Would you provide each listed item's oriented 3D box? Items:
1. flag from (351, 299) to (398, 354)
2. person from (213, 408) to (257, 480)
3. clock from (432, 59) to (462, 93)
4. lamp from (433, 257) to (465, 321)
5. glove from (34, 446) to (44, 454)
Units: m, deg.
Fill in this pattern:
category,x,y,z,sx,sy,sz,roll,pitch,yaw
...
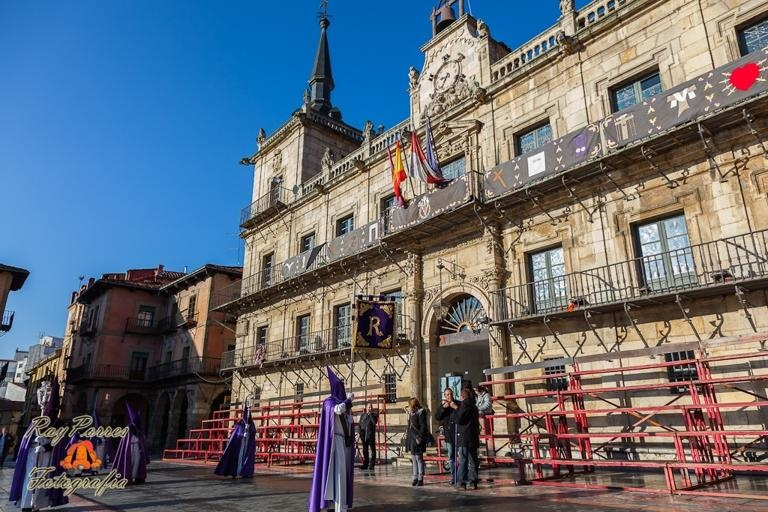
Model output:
category,x,y,z,sx,sy,sz,roll,pitch,yaw
flag,-0.399,3.127,24.220,2.404,2.704,0.351,4,-20,-16
person,-5.371,6.923,20.429,1.374,2.466,1.021,7,-22,-25
clock,3.114,-8.705,26.932,0.141,1.871,1.837,19,-24,-38
lamp,2.763,1.314,24.339,0.569,2.691,1.547,11,-24,-32
glove,-9.739,5.531,15.704,0.230,0.165,0.096,13,-25,-36
